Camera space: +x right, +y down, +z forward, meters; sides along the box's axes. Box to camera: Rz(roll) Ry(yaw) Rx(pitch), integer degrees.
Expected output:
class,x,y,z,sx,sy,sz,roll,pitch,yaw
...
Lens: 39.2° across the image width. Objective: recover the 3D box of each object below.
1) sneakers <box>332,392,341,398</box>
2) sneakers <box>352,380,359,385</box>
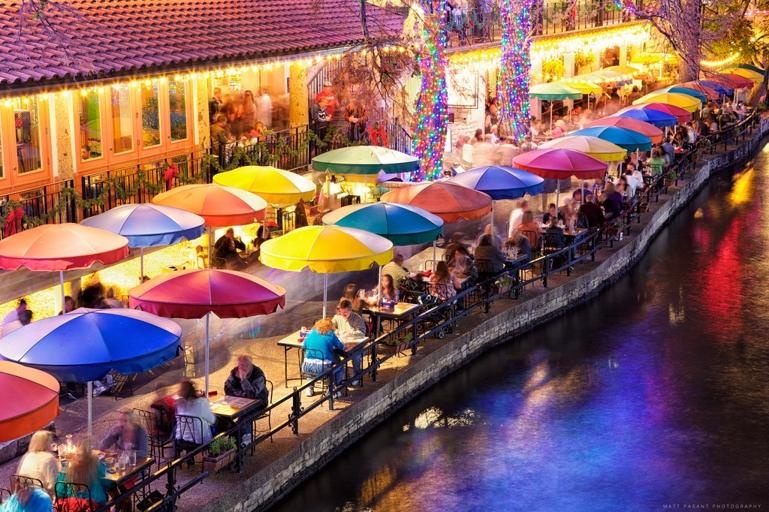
class,x,y,z,sx,sy,sz,roll,pitch,yaw
sneakers,-0.867,2.553,19.829,0.132,0.147,0.134,-5,-6,3
sneakers,-0.525,2.375,20.244,0.112,0.074,0.107,-1,-9,-4
